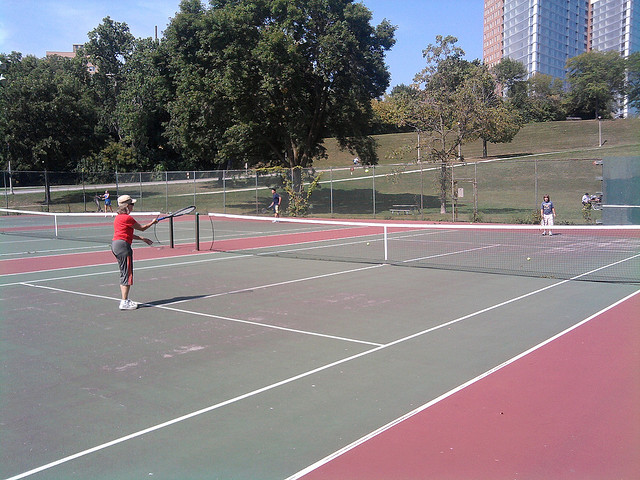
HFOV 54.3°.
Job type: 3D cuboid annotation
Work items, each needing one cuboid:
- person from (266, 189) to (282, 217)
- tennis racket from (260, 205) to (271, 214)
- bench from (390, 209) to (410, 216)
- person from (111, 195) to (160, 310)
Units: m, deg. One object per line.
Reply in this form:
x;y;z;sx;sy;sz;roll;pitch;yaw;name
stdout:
-2.953;-2.287;39.683;1.398;0.946;2.895;10;20;-9;person
-3.929;-2.045;43.911;0.359;0.132;0.554;24;39;30;tennis racket
5.036;-1.780;39.674;1.119;0.312;3.698;0;5;7;bench
-3.792;0.204;12.605;0.703;2.201;1.443;-2;6;-15;person
